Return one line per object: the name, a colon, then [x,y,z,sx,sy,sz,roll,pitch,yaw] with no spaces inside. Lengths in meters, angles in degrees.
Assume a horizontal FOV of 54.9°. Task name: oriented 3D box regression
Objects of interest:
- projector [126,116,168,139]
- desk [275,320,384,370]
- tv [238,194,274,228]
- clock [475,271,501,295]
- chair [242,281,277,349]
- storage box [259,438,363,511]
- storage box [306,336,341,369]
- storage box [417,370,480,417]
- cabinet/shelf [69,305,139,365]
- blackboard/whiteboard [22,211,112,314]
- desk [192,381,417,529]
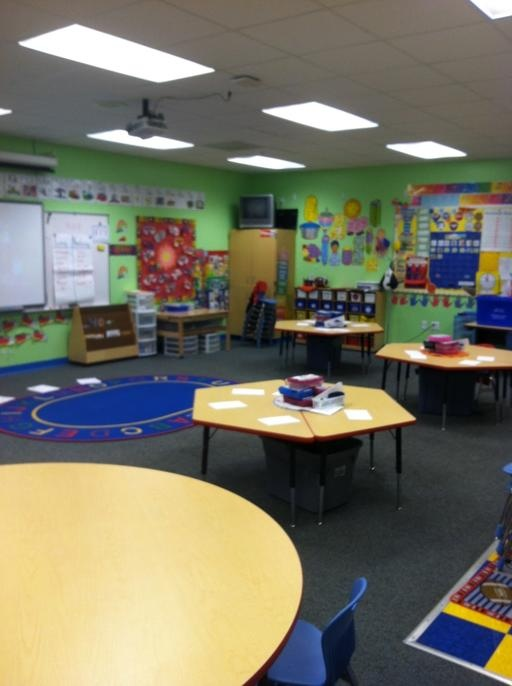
projector: [-1.062,-2.117,4.839,0.259,0.096,0.264,-4,12,-4]
desk: [1.064,0.034,7.732,1.513,0.786,1.901,2,5,3]
tv: [0.015,-2.623,10.053,0.690,0.657,0.703,0,-1,4]
clock: [3.823,-0.979,8.115,0.390,0.350,0.082,6,7,42]
chair: [0.086,-0.585,9.756,0.667,1.255,0.796,2,5,1]
storage box: [0.389,0.892,3.547,0.511,0.414,0.600,-1,2,-42]
storage box: [1.011,0.160,7.592,0.519,0.705,0.508,1,4,30]
storage box: [2.291,0.561,5.903,0.681,0.623,0.682,1,8,28]
cabinet/shelf: [-2.481,-0.141,8.076,0.536,0.914,0.990,11,14,39]
blackboard/whiteboard: [-2.953,-1.248,7.544,0.185,1.940,1.580,6,10,41]
desk: [0.316,0.622,3.337,1.164,0.453,1.173,0,13,-7]
